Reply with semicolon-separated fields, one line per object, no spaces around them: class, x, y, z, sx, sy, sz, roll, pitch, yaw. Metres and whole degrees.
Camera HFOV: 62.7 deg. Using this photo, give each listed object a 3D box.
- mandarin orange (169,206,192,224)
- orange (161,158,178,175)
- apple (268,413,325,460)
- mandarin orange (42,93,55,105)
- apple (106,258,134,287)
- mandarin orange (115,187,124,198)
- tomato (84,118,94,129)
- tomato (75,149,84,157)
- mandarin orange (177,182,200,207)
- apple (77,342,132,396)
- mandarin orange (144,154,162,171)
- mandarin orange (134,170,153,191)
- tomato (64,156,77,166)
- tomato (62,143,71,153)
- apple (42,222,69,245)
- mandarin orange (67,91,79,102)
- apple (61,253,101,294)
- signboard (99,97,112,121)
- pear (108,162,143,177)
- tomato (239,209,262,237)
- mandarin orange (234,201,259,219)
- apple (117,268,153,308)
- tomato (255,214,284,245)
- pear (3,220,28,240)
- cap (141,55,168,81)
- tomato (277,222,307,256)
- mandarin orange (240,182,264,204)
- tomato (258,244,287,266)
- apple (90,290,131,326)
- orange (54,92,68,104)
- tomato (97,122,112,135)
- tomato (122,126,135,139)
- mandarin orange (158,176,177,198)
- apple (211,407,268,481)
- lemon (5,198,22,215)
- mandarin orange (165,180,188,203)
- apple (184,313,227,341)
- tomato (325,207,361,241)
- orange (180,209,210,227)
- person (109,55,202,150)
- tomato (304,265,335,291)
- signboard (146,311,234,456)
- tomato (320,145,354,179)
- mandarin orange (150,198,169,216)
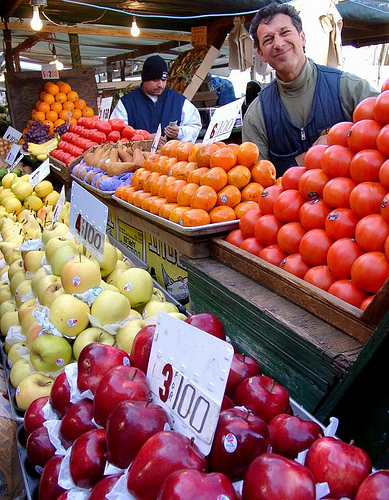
mandarin orange;-0.088;-0.211;1.902;0.123;0.092;0.091;-5;13;-21
orange;-0.185;-0.642;2.457;0.113;0.083;0.151;-13;24;23
apple;0.208;0.345;0.638;0.082;0.079;0.082;6;2;14
mandarin orange;-3.113;-3.164;6.805;0.168;0.201;0.167;30;75;35
apple;-0.415;0.112;1.786;0.118;0.135;0.115;-5;10;-8
mandarin orange;-0.674;-0.512;2.870;0.094;0.087;0.090;1;7;-2
tomato;-1.591;-1.887;4.845;0.140;0.128;0.320;-8;32;-17
tomato;-1.587;-1.322;4.423;0.113;0.087;0.172;-16;35;-29
mandarin orange;-0.042;-0.348;2.051;0.142;0.175;0.144;-2;6;-41
apple;-0.269;0.303;0.919;0.123;0.128;0.130;33;-12;-32
mandarin orange;-0.365;-0.767;2.840;0.121;0.122;0.161;0;6;8
mandarin orange;-0.409;-0.580;2.690;0.052;0.148;0.151;14;-3;-25
tomato;-1.720;-1.243;4.456;0.151;0.110;0.246;-11;33;-22
tomato;-1.978;-1.562;4.913;0.057;0.160;0.163;32;11;-11
apple;-0.862;-0.093;2.055;0.143;0.163;0.144;3;27;0
mandarin orange;-2.682;-3.318;7.023;0.192;0.190;0.220;32;-16;6
apple;-0.480;0.093;1.398;0.152;0.176;0.149;-1;-4;9
signboard;-1.506;-2.352;5.393;0.221;0.357;0.520;-6;31;-14
pear;-0.733;-0.830;3.327;0.297;0.103;0.117;-10;30;-19
tomato;0.259;-0.156;1.655;0.127;0.149;0.127;4;15;-10
mandarin orange;0.299;-0.240;1.825;0.112;0.107;0.102;-4;63;0
apple;-0.278;0.166;1.582;0.152;0.172;0.154;-8;11;21
tomato;0.329;-0.101;1.491;0.132;0.147;0.130;2;4;7
pear;-1.594;-0.186;2.848;0.141;0.190;0.138;25;3;-3
cap;-0.505;-2.541;4.584;0.345;0.320;0.327;24;35;23
tomato;0.405;-0.056;1.345;0.123;0.137;0.124;2;3;8
mandarin orange;0.359;-0.350;1.993;0.115;0.109;0.112;-17;44;-6
tomato;0.357;0.027;1.469;0.091;0.086;0.089;-28;-37;27
apple;-0.331;0.266;1.328;0.137;0.144;0.168;-3;57;5
orange;-2.875;-3.246;6.937;0.227;0.259;0.229;6;31;7
tomato;-1.238;-1.672;4.443;0.190;0.134;0.141;-3;3;15
tomato;-0.909;-1.601;4.414;0.164;0.151;0.161;2;15;-11
mandarin orange;-0.203;-0.453;2.250;0.049;0.140;0.142;24;12;-15
apple;0.081;0.343;0.642;0.102;0.124;0.101;18;-2;23
lemon;-1.952;-0.493;3.532;0.159;0.183;0.154;-1;7;-4
mandarin orange;-0.145;-0.389;2.188;0.153;0.170;0.145;9;5;-11
apple;0.028;0.254;1.041;0.093;0.108;0.096;-19;-1;31
tomato;0.534;-0.096;1.158;0.111;0.105;0.109;-6;17;-15
orange;0.001;-0.182;1.781;0.126;0.090;0.098;-1;8;-3
person;-0.622;-1.982;4.833;1.411;1.624;0.855;-5;15;-19
tomato;0.464;0.099;1.200;0.082;0.077;0.083;9;6;-45
signboard;-0.032;0.261;0.664;0.022;0.289;0.202;-11;46;36
tomato;0.590;-0.365;1.314;0.136;0.117;0.131;-35;43;-31
mandarin orange;-0.251;-0.294;2.190;0.115;0.134;0.115;1;2;26
